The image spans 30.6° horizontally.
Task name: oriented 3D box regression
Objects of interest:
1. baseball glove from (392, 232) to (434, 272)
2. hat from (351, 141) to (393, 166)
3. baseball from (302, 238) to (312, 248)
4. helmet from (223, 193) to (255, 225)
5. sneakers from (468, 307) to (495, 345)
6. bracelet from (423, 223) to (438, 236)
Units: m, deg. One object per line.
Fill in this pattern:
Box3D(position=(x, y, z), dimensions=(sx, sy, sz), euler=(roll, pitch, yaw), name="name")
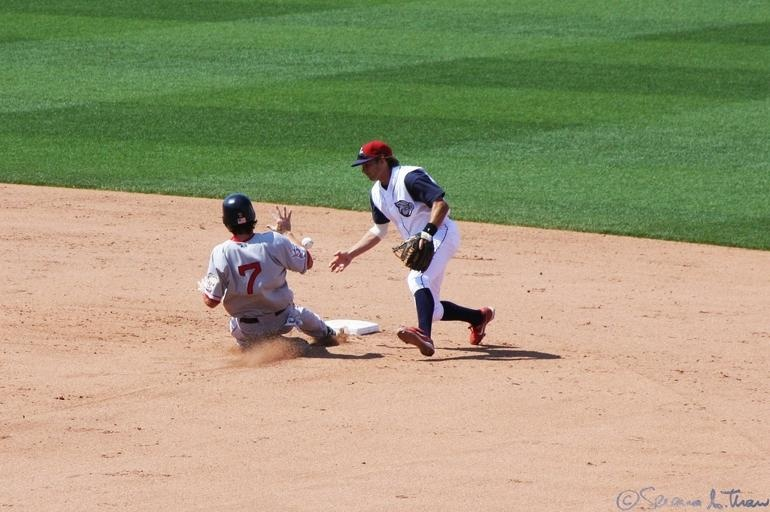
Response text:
Box3D(position=(0.308, -0.049, 17.232), dimensions=(0.561, 0.353, 0.242), euler=(16, -1, 27), name="baseball glove")
Box3D(position=(-0.186, -1.247, 17.253), dimensions=(0.519, 0.224, 0.317), euler=(-5, 8, -8), name="hat")
Box3D(position=(-0.946, -0.166, 17.079), dimensions=(0.122, 0.094, 0.151), euler=(0, 3, 35), name="baseball")
Box3D(position=(-1.823, -0.595, 16.988), dimensions=(0.355, 0.294, 0.400), euler=(-16, 32, -1), name="helmet")
Box3D(position=(1.188, 0.840, 17.672), dimensions=(0.331, 0.515, 0.203), euler=(2, 27, -19), name="sneakers")
Box3D(position=(0.536, -0.329, 17.047), dimensions=(0.173, 0.119, 0.156), euler=(22, -15, 18), name="bracelet")
